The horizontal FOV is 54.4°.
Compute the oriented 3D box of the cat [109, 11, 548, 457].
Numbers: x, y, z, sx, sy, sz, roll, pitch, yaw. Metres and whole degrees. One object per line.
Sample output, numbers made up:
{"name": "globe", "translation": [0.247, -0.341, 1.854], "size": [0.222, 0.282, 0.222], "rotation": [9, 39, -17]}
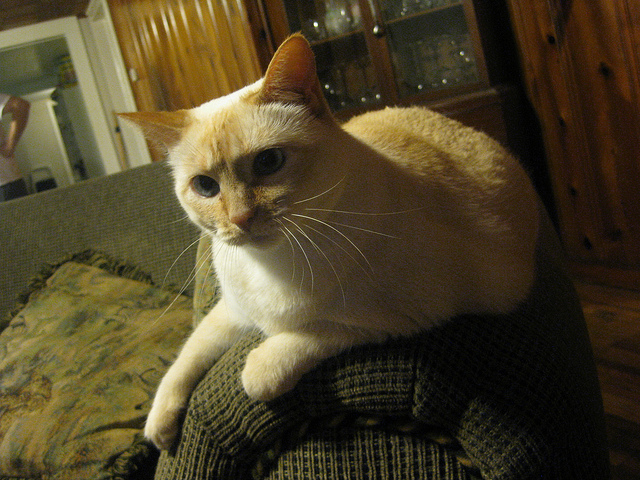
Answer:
{"name": "cat", "translation": [0.073, -0.218, 1.943], "size": [1.536, 0.871, 0.891], "rotation": [-29, 6, -37]}
